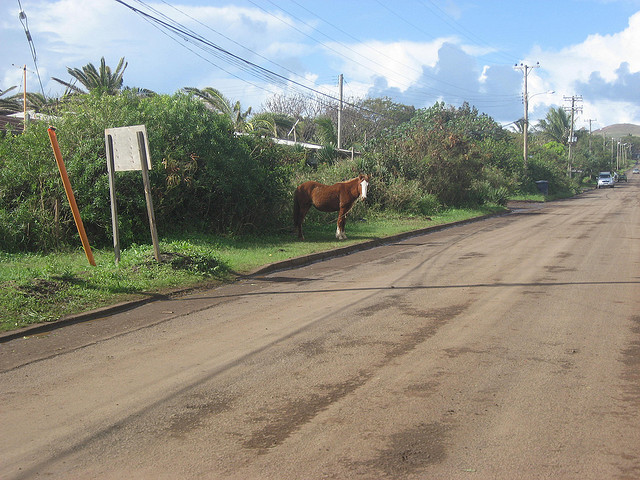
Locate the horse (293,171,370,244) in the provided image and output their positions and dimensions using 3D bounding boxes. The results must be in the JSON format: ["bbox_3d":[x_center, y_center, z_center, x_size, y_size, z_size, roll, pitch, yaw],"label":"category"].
[{"bbox_3d":[0.257,-1.082,19.378,2.150,1.892,3.683,1,7,-2],"label":"horse"}]

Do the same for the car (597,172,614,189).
[{"bbox_3d":[31.604,-6.660,68.925,1.201,1.346,2.586,-1,-1,23],"label":"car"}]
